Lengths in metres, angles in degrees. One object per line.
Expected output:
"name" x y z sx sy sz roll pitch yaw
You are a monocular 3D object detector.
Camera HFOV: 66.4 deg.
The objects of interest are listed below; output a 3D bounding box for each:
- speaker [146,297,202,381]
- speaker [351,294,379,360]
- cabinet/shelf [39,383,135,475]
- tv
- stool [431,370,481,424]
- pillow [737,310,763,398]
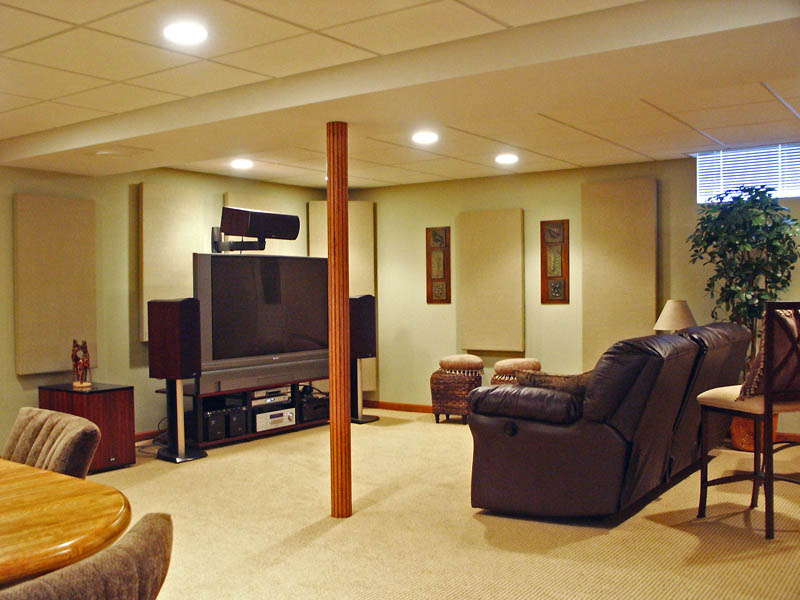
"speaker" -2.238 0.382 6.084 0.415 0.776 0.334 -1 1 23
"speaker" -0.471 0.331 7.513 0.217 0.764 0.530 1 3 42
"cabinet/shelf" -2.972 1.254 5.936 0.748 0.746 0.429 -9 -8 39
"tv" -1.577 0.173 7.102 0.205 1.385 2.303 -2 -1 28
"stool" 0.685 1.209 7.615 0.751 0.594 0.735 2 -2 -20
"pillow" 2.895 0.437 5.083 0.181 0.686 0.434 5 -12 28
